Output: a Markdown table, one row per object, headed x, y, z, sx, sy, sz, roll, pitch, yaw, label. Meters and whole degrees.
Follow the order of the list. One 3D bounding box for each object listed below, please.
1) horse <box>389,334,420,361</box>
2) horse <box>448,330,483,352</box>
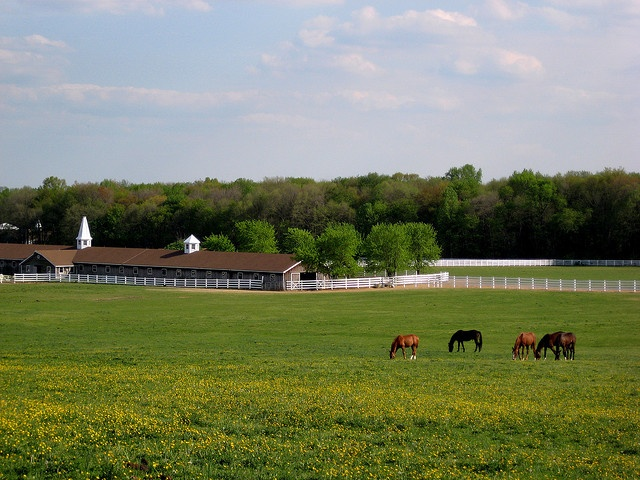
| x | y | z | sx | sy | sz | roll | pitch | yaw | label |
| --- | --- | --- | --- | --- | --- | --- | --- | --- | --- |
| 6.557 | 8.256 | 97.328 | 2.181 | 1.713 | 3.478 | 2 | 8 | 4 | horse |
| 11.712 | 8.036 | 99.647 | 2.736 | 1.761 | 2.762 | 2 | 8 | 5 | horse |
